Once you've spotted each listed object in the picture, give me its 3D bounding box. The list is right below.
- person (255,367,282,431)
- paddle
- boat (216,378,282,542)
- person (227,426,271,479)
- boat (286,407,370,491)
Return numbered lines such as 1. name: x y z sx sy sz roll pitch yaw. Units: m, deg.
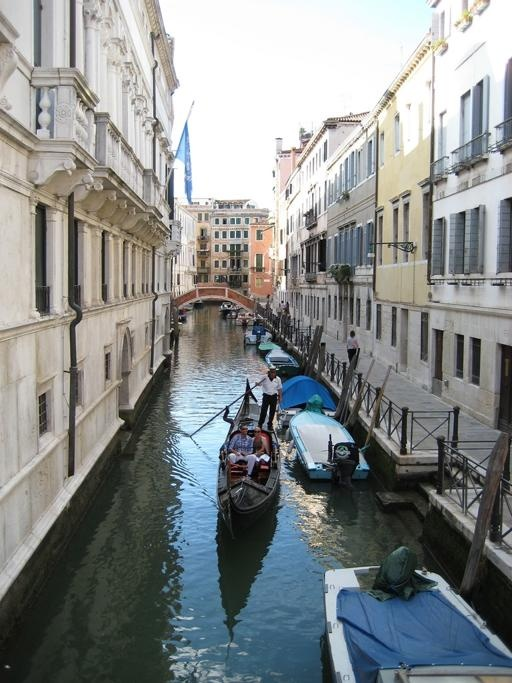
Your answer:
1. person: 0.360 1.783 17.627 0.709 2.186 0.581 2 19 -7
2. paddle: -1.198 2.461 19.363 0.622 0.472 3.958 33 -27 -7
3. boat: -0.193 2.518 11.534 0.620 1.463 3.963 -1 21 2
4. person: -0.157 2.381 12.293 0.527 0.753 1.304 -1 -2 2
5. boat: 1.750 2.690 14.159 1.400 1.055 3.375 0 5 -6
